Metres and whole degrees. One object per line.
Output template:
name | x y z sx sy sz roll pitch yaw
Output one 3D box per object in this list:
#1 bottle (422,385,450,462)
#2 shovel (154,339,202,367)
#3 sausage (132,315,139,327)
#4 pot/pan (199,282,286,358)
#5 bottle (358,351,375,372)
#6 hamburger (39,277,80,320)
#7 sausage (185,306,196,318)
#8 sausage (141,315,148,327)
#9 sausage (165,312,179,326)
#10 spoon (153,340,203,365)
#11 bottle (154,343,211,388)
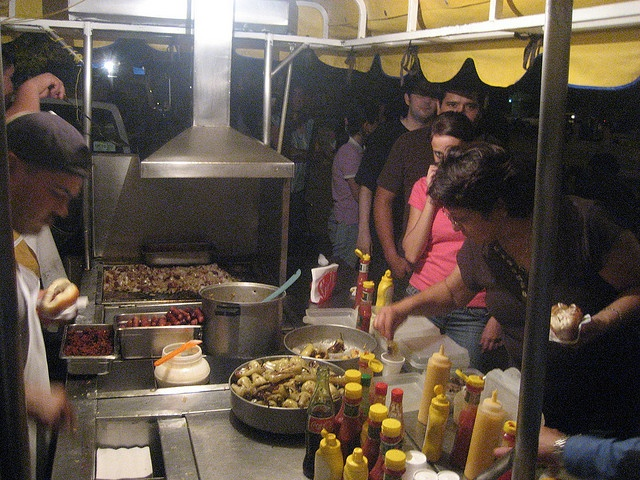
bottle | 0.366 0.558 1.620 0.065 0.253 0.135 7 18 17
shovel | -0.588 0.470 2.142 0.191 0.022 0.045 -30 35 -34
sausage | -0.833 0.369 2.338 0.026 0.016 0.049 -3 31 -16
pot/pan | -0.359 0.386 2.426 0.362 0.221 0.378 5 13 9
bottle | 0.153 0.405 1.715 0.046 0.063 0.074 4 17 8
hamburger | -0.942 0.205 1.893 0.156 0.084 0.194 -12 34 -16
sausage | -0.627 0.357 2.533 0.050 0.045 0.023 -3 -8 -34
sausage | -0.802 0.375 2.371 0.039 0.025 0.060 1 28 -12
sausage | -0.703 0.373 2.444 0.045 0.056 0.027 7 -28 -12
spoon | -0.591 0.468 2.147 0.192 0.021 0.044 -30 42 -26
bottle | -0.569 0.486 2.154 0.180 0.172 0.193 -5 9 -42
